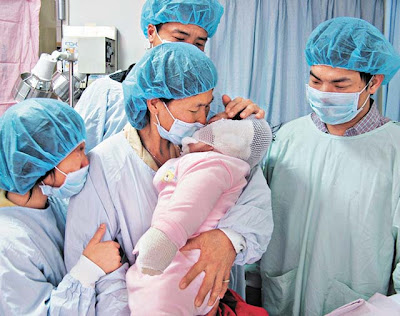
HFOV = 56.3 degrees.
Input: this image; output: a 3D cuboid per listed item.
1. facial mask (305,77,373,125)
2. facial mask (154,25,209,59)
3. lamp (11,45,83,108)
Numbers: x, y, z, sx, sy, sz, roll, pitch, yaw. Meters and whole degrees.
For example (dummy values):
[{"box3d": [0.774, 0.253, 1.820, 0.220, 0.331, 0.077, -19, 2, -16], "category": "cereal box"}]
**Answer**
[{"box3d": [0.704, -0.281, 1.992, 0.277, 0.188, 0.105, 8, 7, 15], "category": "facial mask"}, {"box3d": [-0.102, -0.616, 1.964, 0.291, 0.263, 0.159, 0, 19, -8], "category": "facial mask"}, {"box3d": [-0.967, -0.512, 2.419, 0.324, 0.486, 0.444, -3, 18, -13], "category": "lamp"}]
